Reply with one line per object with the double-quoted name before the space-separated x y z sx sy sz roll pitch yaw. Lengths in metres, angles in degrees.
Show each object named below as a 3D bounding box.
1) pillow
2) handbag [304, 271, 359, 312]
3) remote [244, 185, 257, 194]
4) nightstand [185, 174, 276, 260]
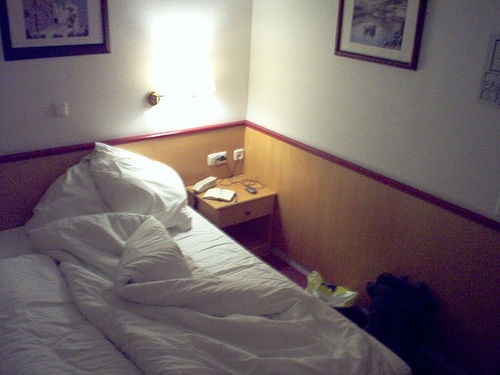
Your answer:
"pillow" -1.025 0.051 2.888 0.813 0.250 0.793 4 57 -37
"handbag" 0.633 0.800 2.965 0.412 0.161 0.306 10 18 41
"remote" 0.009 0.017 3.518 0.054 0.023 0.096 -12 29 -21
"nightstand" -0.170 0.350 3.698 0.650 0.816 0.620 -8 30 -21
